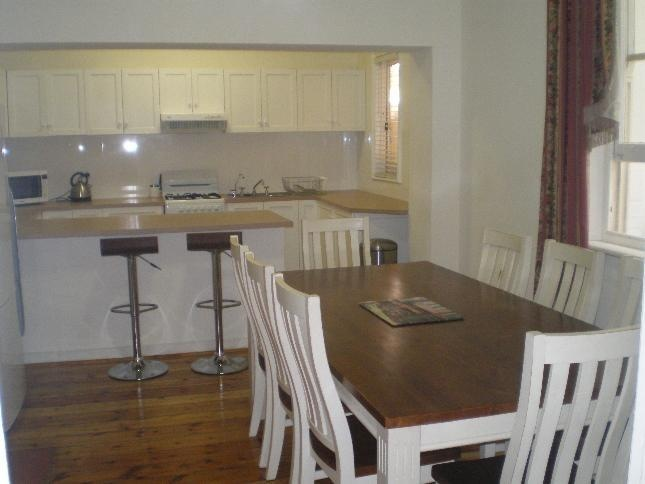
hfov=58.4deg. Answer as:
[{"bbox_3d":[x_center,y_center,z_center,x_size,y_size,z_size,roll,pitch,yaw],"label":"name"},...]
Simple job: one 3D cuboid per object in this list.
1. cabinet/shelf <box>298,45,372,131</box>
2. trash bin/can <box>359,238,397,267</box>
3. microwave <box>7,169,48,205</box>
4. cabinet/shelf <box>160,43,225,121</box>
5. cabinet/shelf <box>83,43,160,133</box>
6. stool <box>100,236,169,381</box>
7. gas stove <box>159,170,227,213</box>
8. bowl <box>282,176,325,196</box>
[{"bbox_3d":[0.137,-1.639,6.298,0.841,0.852,0.441,-1,6,-10],"label":"cabinet/shelf"},{"bbox_3d":[0.524,0.087,5.250,0.243,0.281,0.250,-1,4,0],"label":"trash bin/can"},{"bbox_3d":[-2.558,-0.471,5.027,0.287,0.342,0.510,-3,12,-14],"label":"microwave"},{"bbox_3d":[-1.363,-1.621,5.954,0.746,0.723,0.414,-2,8,-15],"label":"cabinet/shelf"},{"bbox_3d":[-2.082,-1.410,6.110,0.771,0.727,0.395,-3,-11,-15],"label":"cabinet/shelf"},{"bbox_3d":[-1.316,0.422,4.038,0.397,0.973,0.511,-5,14,-19],"label":"stool"},{"bbox_3d":[-1.436,-0.436,6.410,0.642,0.642,0.415,-5,18,-24],"label":"gas stove"},{"bbox_3d":[-0.231,-0.666,6.767,0.342,0.141,0.264,-3,13,-10],"label":"bowl"}]
